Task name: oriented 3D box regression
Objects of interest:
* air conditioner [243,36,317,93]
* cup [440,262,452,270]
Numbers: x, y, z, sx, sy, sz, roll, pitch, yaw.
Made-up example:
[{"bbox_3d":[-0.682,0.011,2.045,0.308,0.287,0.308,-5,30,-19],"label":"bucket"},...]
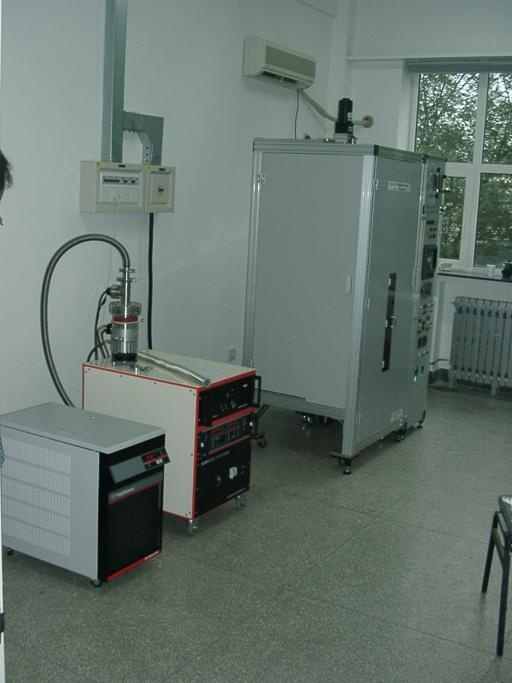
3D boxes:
[{"bbox_3d":[0.197,-2.150,4.770,0.199,0.285,0.755,17,20,31],"label":"air conditioner"},{"bbox_3d":[1.951,-0.760,6.277,0.092,0.063,0.105,0,3,-2],"label":"cup"}]
